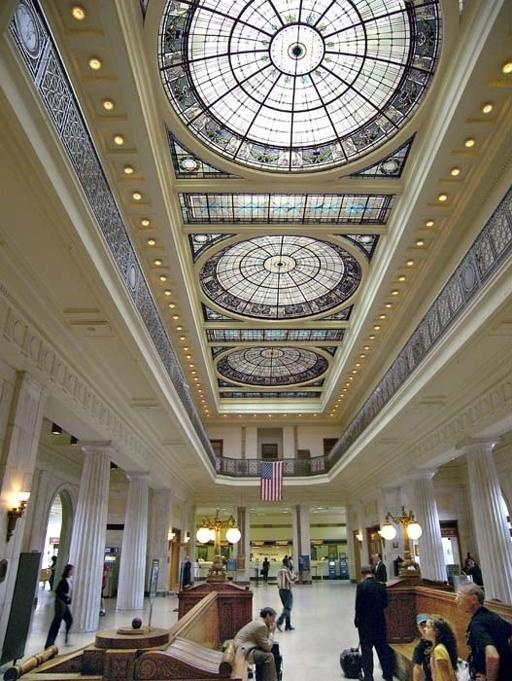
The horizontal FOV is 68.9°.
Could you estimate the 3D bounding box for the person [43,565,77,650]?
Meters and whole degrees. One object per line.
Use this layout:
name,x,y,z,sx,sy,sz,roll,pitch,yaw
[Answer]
person,-3.505,4.876,6.772,0.377,1.324,1.929,10,-26,-21

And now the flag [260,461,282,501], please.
flag,0.747,6.644,17.659,0.980,1.681,0.548,2,-25,-6

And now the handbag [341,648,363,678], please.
handbag,1.242,4.183,4.797,0.252,0.303,0.375,-6,-25,12

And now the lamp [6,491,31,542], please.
lamp,-3.203,2.352,4.970,0.158,0.625,0.321,7,-26,-15
